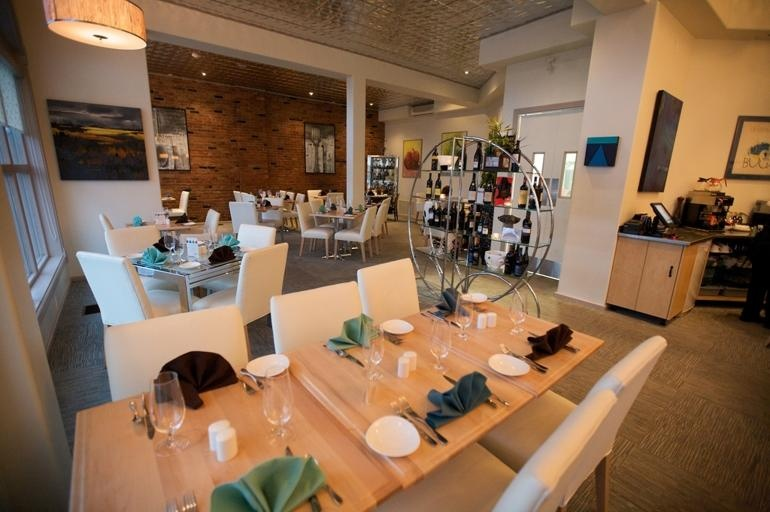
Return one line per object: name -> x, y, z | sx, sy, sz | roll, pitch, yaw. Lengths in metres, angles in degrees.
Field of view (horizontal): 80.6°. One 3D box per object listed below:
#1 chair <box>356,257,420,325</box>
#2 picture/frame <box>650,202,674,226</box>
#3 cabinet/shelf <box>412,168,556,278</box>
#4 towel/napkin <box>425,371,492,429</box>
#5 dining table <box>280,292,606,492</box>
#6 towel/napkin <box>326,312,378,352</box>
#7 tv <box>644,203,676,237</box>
chair -> 0.035, 0.332, 4.047 | 0.459, 0.782, 0.454 | -11, 13, -29
picture/frame -> 3.517, -0.528, 5.783 | 0.037, 0.370, 0.262 | -34, 8, 41
cabinet/shelf -> 1.259, -0.368, 5.459 | 0.452, 1.558, 1.553 | -8, 15, -40
towel/napkin -> 0.496, 0.956, 3.114 | 0.548, 0.188, 0.296 | -20, 29, -27
dining table -> 0.314, 0.857, 3.239 | 1.666, 0.399, 1.102 | -28, 50, -33
towel/napkin -> -0.256, 0.591, 3.448 | 0.241, 0.113, 0.312 | 14, 25, 39
tv -> 3.464, -0.442, 5.691 | 0.188, 0.391, 0.398 | -10, -7, 38
